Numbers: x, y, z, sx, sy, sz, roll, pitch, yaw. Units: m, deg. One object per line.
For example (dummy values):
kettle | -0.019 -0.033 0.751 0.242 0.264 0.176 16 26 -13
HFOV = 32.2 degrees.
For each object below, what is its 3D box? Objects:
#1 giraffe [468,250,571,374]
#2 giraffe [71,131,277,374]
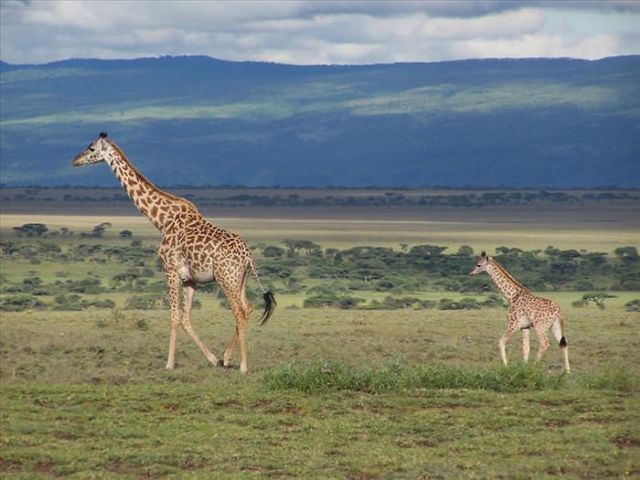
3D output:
giraffe | 7.330 2.601 40.060 2.995 4.367 1.184 2 7 28
giraffe | -4.934 0.634 39.898 4.895 8.158 1.619 2 7 25
